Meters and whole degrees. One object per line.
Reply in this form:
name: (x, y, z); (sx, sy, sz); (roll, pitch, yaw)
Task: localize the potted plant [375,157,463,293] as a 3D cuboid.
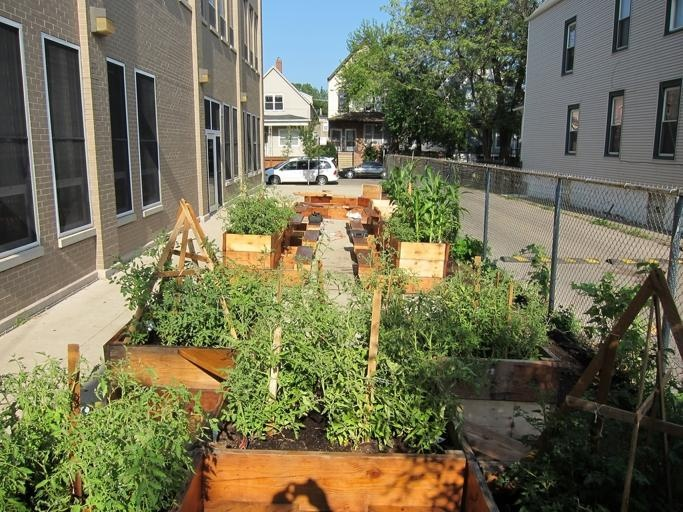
potted plant: (1.979, -0.694, 9.494); (1.124, 1.953, 2.989); (5, 13, 18)

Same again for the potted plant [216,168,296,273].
potted plant: (-1.647, -0.583, 9.544); (0.942, 1.337, 2.043); (2, 16, -9)

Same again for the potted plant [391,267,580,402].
potted plant: (1.451, 1.040, 4.915); (1.152, 0.612, 1.704); (2, 14, 0)
